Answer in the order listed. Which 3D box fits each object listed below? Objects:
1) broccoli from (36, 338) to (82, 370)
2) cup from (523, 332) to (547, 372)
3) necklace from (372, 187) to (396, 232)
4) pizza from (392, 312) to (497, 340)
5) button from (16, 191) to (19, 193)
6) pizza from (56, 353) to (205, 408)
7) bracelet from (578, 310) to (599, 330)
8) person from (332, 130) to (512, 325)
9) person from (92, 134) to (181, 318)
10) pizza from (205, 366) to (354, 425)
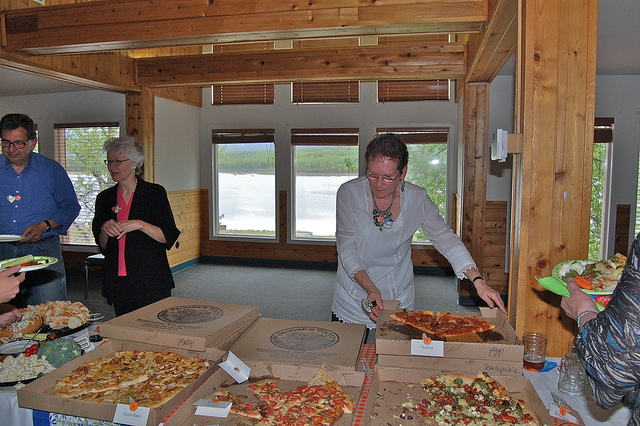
[{"bbox_3d":[-1.444,0.766,2.557,0.173,0.057,0.171,18,17,22],"label":"broccoli"},{"bbox_3d":[1.196,0.785,2.598,0.139,0.182,0.123,2,-2,27],"label":"cup"},{"bbox_3d":[0.408,0.000,2.993,0.140,0.239,0.061,0,6,8],"label":"necklace"},{"bbox_3d":[0.666,0.599,2.552,0.461,0.071,0.352,-3,6,-21],"label":"pizza"},{"bbox_3d":[-2.520,-0.173,3.839,0.020,0.018,0.005,-2,2,-17],"label":"button"},{"bbox_3d":[-0.980,0.867,2.435,0.555,0.063,0.586,9,9,6],"label":"pizza"},{"bbox_3d":[1.117,0.453,1.941,0.068,0.079,0.094,3,7,34],"label":"bracelet"},{"bbox_3d":[0.539,0.089,2.869,0.836,1.152,0.511,-1,6,-1],"label":"person"},{"bbox_3d":[-1.450,0.105,3.630,0.605,1.398,0.450,-4,7,-25],"label":"person"},{"bbox_3d":[-0.182,0.880,2.220,0.678,0.193,0.216,-1,6,0],"label":"pizza"}]
